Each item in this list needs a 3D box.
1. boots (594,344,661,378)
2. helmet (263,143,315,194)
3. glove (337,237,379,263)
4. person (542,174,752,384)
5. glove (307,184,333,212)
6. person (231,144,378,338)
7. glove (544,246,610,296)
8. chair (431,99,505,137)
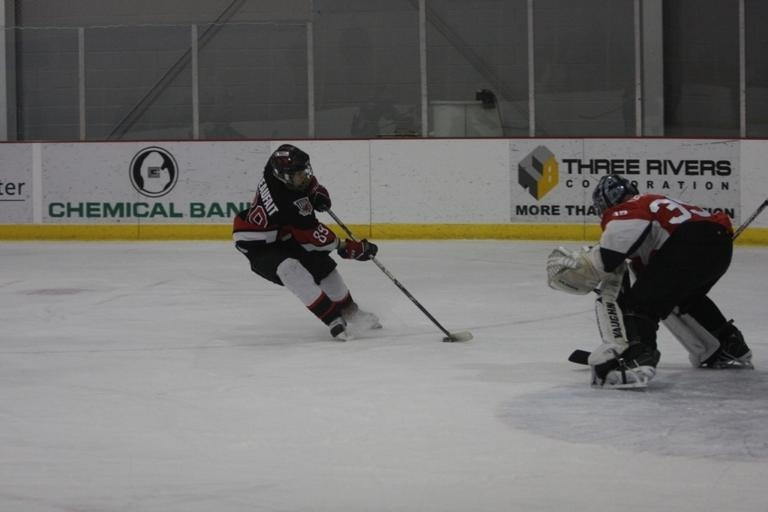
[{"bbox_3d":[1.394,0.595,6.595,0.549,0.191,0.183,5,-1,-24],"label":"boots"},{"bbox_3d":[-0.653,-0.629,7.860,0.403,0.303,0.286,8,10,16],"label":"helmet"},{"bbox_3d":[-0.194,-0.048,8.009,0.277,0.137,0.108,1,-35,8],"label":"glove"},{"bbox_3d":[1.651,0.137,6.765,1.182,1.283,0.453,-2,2,-17],"label":"person"},{"bbox_3d":[-0.468,-0.425,8.199,0.171,0.206,0.081,0,48,31],"label":"glove"},{"bbox_3d":[-0.606,-0.105,7.886,0.875,1.368,0.416,-1,2,20],"label":"person"},{"bbox_3d":[1.334,0.075,6.821,0.637,0.245,0.334,2,12,1],"label":"glove"},{"bbox_3d":[1.039,-1.815,14.777,1.091,0.433,0.628,0,-1,-1],"label":"chair"}]
